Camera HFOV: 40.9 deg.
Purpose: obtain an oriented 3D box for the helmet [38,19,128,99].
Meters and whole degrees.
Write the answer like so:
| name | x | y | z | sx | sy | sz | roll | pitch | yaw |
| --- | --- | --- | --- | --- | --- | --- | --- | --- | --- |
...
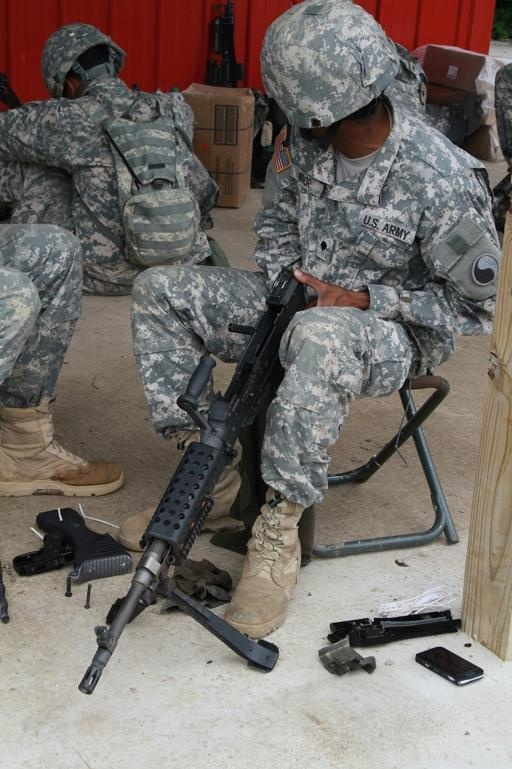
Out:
| name | x | y | z | sx | sy | sz | roll | pitch | yaw |
| --- | --- | --- | --- | --- | --- | --- | --- | --- | --- |
| helmet | -1.103 | -2.024 | 4.268 | 0.524 | 0.387 | 0.388 | -5 | 13 | 30 |

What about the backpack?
| name | x | y | z | sx | sy | sz | roll | pitch | yaw |
| --- | --- | --- | --- | --- | --- | --- | --- | --- | --- |
| backpack | -0.578 | -1.142 | 4.075 | 0.631 | 0.960 | 0.366 | -12 | 5 | -33 |

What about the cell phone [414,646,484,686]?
| name | x | y | z | sx | sy | sz | roll | pitch | yaw |
| --- | --- | --- | --- | --- | --- | --- | --- | --- | --- |
| cell phone | 0.452 | 0.656 | 1.613 | 0.089 | 0.025 | 0.140 | -7 | 16 | -39 |
